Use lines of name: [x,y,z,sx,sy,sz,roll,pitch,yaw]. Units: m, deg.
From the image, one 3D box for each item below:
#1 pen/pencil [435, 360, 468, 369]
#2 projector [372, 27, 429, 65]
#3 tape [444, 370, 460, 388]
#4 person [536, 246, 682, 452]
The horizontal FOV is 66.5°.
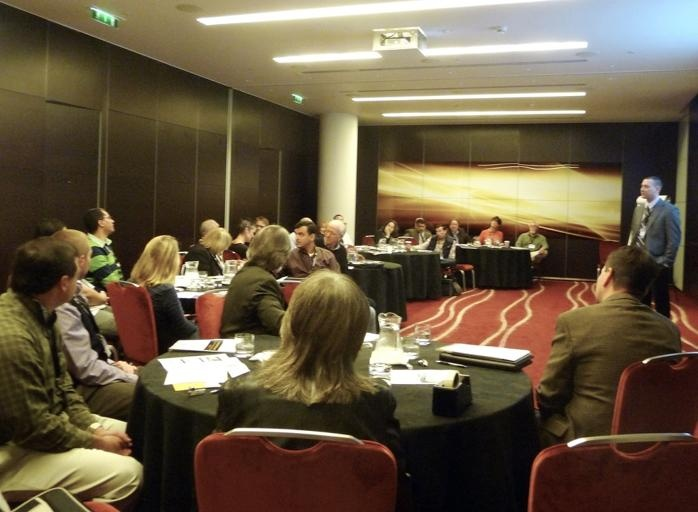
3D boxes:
pen/pencil: [0.534,0.560,2.754,0.141,0.015,0.027,0,11,36]
projector: [0.713,-2.897,7.574,0.765,0.250,1.352,3,5,6]
tape: [0.437,0.516,2.264,0.081,0.076,0.089,0,-9,8]
person: [1.189,0.412,2.646,0.561,0.965,0.576,6,6,17]
